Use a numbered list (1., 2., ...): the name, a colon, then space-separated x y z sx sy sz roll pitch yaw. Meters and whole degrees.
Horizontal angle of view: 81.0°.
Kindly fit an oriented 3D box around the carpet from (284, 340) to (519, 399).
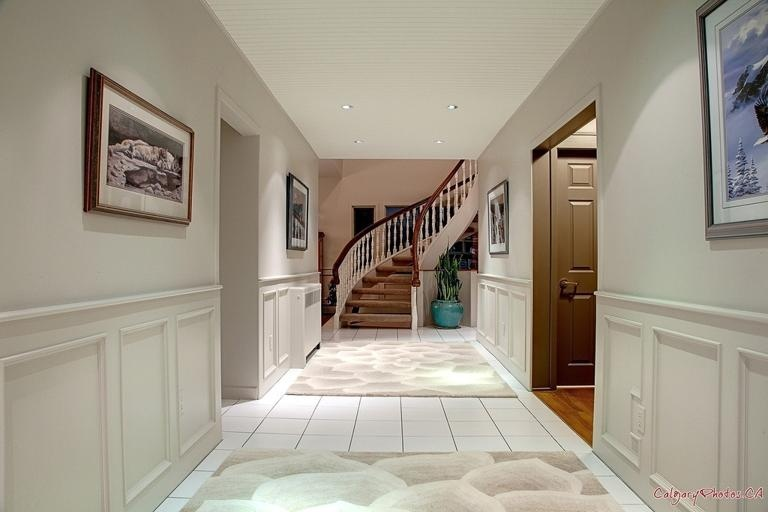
1. carpet: 0.196 1.305 5.477 2.255 0.114 2.329 0 4 2

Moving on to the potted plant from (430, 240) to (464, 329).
1. potted plant: 1.083 0.604 7.774 0.533 1.322 0.348 1 4 10
